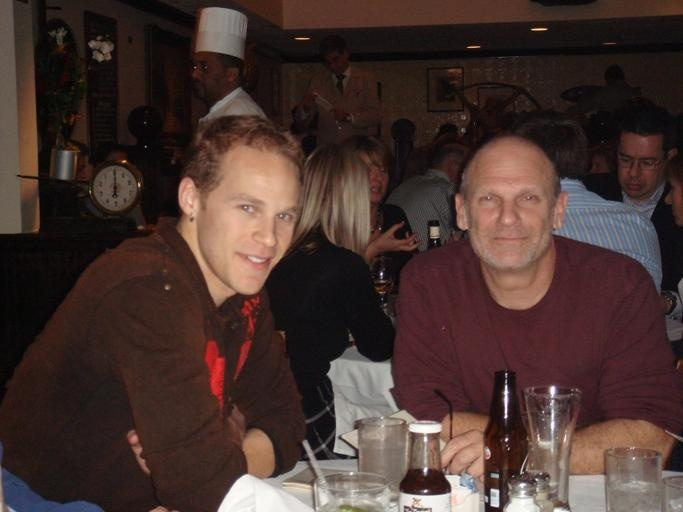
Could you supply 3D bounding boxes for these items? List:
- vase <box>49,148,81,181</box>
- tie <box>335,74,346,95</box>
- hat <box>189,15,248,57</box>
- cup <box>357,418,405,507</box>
[{"bbox_3d":[-1.687,-0.551,3.787,0.169,0.179,0.161,4,4,-27],"label":"vase"},{"bbox_3d":[-0.018,-1.948,7.131,0.111,0.188,0.045,11,10,21],"label":"tie"},{"bbox_3d":[-0.901,-1.552,4.407,0.416,0.307,0.374,1,16,-27],"label":"hat"},{"bbox_3d":[0.092,0.475,1.482,0.107,0.164,0.110,1,-1,0],"label":"cup"}]
